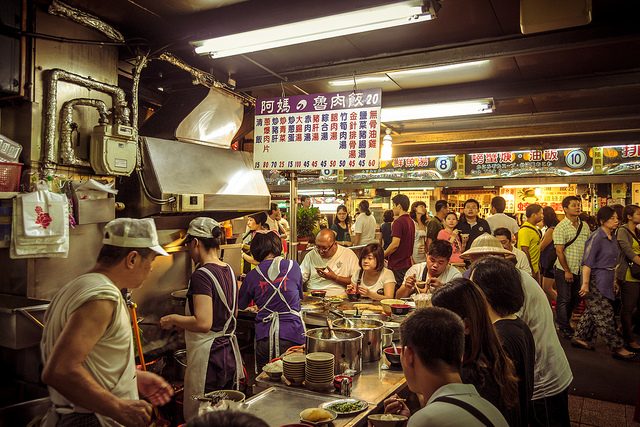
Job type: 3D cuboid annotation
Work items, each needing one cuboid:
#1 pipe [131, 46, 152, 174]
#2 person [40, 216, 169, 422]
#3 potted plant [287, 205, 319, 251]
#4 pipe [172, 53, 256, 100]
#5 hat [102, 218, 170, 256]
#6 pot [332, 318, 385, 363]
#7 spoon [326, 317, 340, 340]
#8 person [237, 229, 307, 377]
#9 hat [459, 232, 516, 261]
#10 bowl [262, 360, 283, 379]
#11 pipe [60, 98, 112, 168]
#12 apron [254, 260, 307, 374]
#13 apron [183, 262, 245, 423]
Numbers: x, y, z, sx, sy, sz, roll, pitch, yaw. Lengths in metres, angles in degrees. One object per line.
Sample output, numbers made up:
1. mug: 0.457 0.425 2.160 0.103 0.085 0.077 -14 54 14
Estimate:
1. pipe: -2.207 -1.282 5.787 0.201 1.577 0.530 2 1 -19
2. person: -1.696 0.806 3.710 0.871 1.527 0.504 2 1 -26
3. potted plant: -0.458 0.315 10.027 0.904 1.039 0.751 0 -1 -17
4. pipe: -1.415 -1.847 6.448 0.318 0.273 1.449 3 2 26
5. hat: -1.521 0.195 3.870 0.471 0.299 0.190 2 1 -16
6. pot: 0.387 1.198 4.824 0.516 0.364 0.571 5 8 31
7. spoon: 0.124 1.136 4.614 0.104 0.033 0.299 2 38 -9
8. person: -0.564 1.295 5.480 0.782 2.178 0.691 -3 6 -14
9. hat: 2.105 0.408 5.935 0.459 0.198 0.452 1 -11 -2
10. bowl: -0.440 1.429 4.369 0.176 0.109 0.280 3 1 -6
11. pipe: -2.609 -0.913 5.274 0.523 0.787 0.198 2 2 -10
12. apron: -0.474 1.092 5.179 0.426 1.036 0.432 1 2 -7
13. apron: -1.273 1.265 5.102 0.776 1.528 0.802 2 3 32
